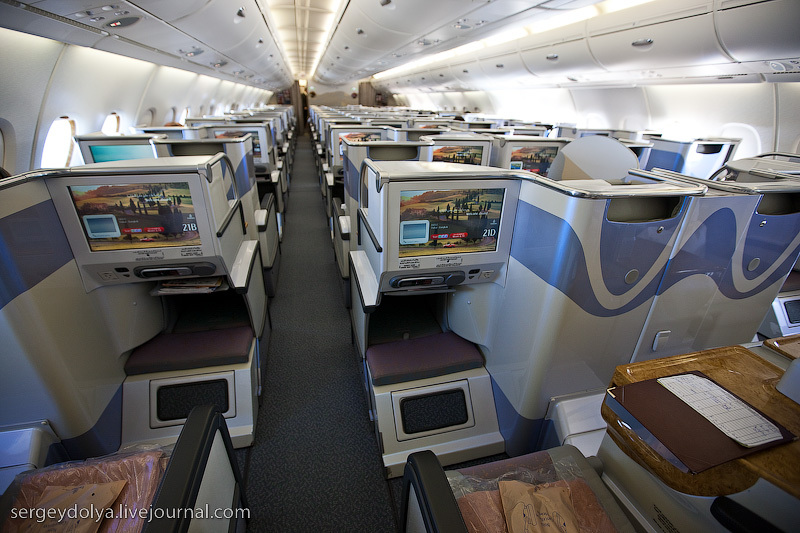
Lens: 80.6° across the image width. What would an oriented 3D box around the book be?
[{"bbox_3d":[1.808,0.949,2.855,0.606,0.148,0.631,-14,35,-15],"label":"book"}]
